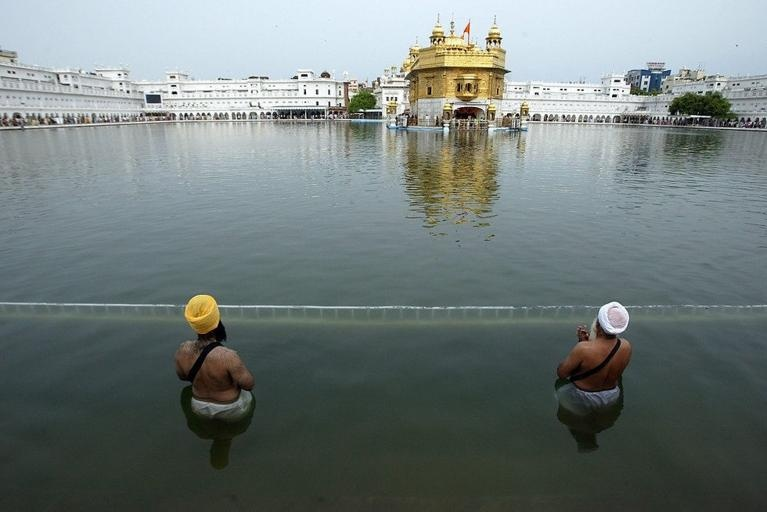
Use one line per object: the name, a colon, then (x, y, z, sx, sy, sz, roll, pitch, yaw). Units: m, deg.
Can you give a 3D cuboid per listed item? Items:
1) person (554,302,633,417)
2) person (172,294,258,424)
person: (2.933, 1.348, 7.328, 0.964, 1.687, 0.628, -6, 22, -16)
person: (-2.270, 1.359, 7.049, 0.945, 1.782, 0.464, -6, 22, -17)
